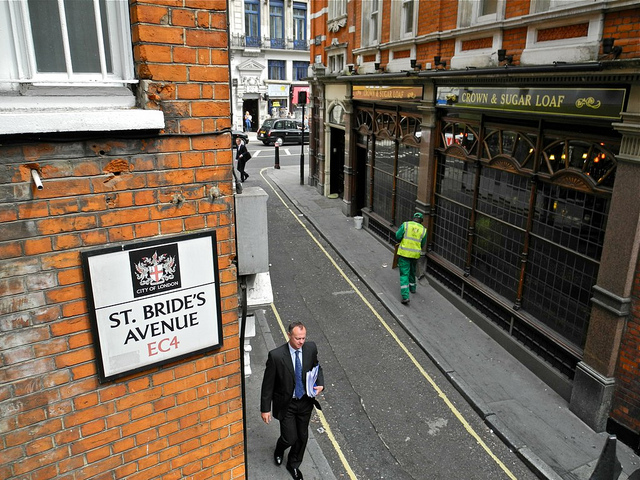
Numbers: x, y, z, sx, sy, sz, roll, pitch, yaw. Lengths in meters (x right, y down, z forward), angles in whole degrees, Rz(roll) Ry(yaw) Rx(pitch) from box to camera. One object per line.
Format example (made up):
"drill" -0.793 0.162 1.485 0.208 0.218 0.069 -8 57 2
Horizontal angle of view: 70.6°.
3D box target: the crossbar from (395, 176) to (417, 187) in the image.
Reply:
"crossbar" 2.268 -1.561 12.040 0.038 0.091 1.291 -7 20 -14

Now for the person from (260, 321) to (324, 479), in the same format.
"person" -0.331 2.143 5.589 0.769 1.799 0.408 -6 18 -10

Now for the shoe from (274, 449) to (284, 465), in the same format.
"shoe" -0.546 2.814 5.870 0.110 0.230 0.102 -6 18 -10

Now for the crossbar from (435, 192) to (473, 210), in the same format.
"crossbar" 2.954 -0.851 9.926 0.041 0.070 0.923 -22 43 -35

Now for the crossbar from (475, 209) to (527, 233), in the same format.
"crossbar" 3.429 -0.364 8.512 0.044 0.044 1.249 -47 33 -2

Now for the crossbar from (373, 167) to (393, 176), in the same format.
"crossbar" 1.883 -2.042 13.505 0.837 0.124 0.120 31 9 36

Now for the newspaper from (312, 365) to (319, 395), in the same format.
"newspaper" -0.073 1.756 5.536 0.065 0.233 0.168 9 -4 1

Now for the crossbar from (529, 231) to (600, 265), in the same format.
"crossbar" 3.855 0.125 7.219 0.053 0.105 1.399 -8 20 -16

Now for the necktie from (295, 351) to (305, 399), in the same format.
"necktie" -0.268 1.637 5.486 0.114 0.595 0.092 -5 18 -8
